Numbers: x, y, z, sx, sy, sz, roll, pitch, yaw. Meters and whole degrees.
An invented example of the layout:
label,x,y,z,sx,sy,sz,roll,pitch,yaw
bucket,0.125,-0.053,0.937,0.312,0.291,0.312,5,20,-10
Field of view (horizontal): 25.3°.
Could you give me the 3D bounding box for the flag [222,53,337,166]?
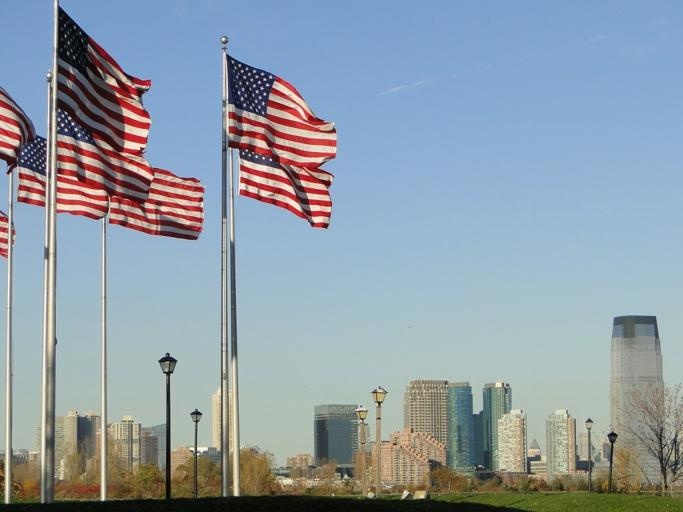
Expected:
label,x,y,z,sx,sy,sz,roll,pitch,yaw
flag,-3.909,-9.518,102.281,8.847,6.687,1.090,9,-11,-37
